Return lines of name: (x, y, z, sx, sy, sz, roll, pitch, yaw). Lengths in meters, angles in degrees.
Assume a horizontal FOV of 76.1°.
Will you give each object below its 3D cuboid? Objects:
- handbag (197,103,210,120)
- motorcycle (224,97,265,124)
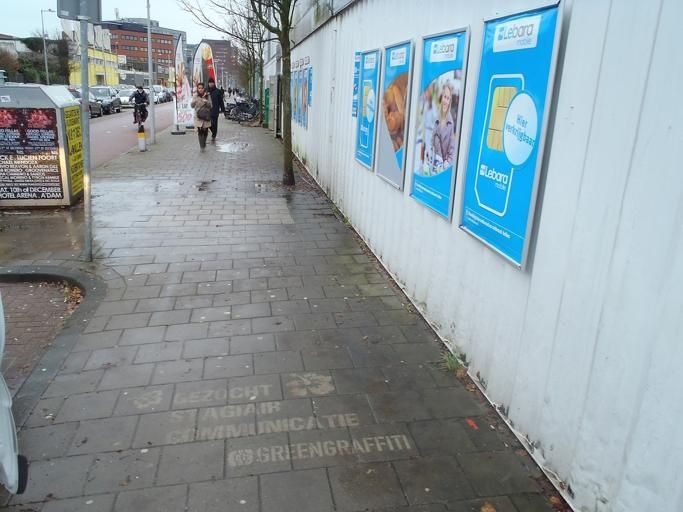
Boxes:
handbag: (-5.018, -5.197, 15.897, 0.466, 0.577, 0.262, -6, 22, -18)
motorcycle: (-6.708, -9.944, 29.979, 2.469, 1.388, 1.673, 9, 23, 20)
